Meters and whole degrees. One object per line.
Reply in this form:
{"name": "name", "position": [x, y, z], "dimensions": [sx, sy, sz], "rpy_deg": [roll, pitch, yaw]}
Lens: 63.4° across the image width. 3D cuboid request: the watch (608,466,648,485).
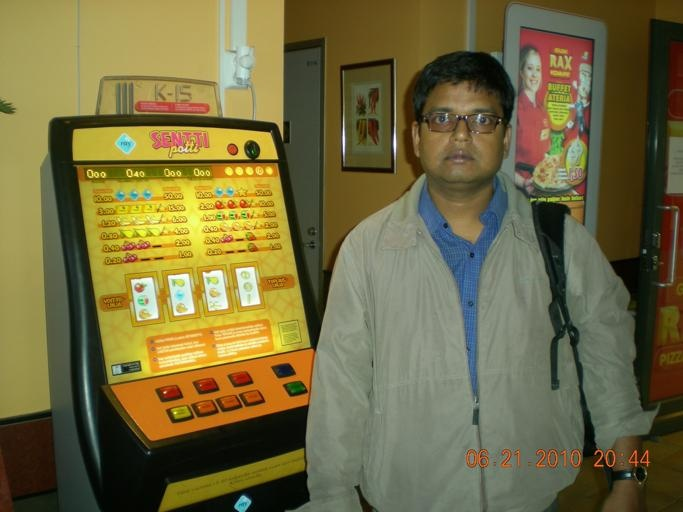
{"name": "watch", "position": [0.854, 0.644, 1.646], "dimensions": [0.094, 0.056, 0.091], "rpy_deg": [2, -9, -31]}
